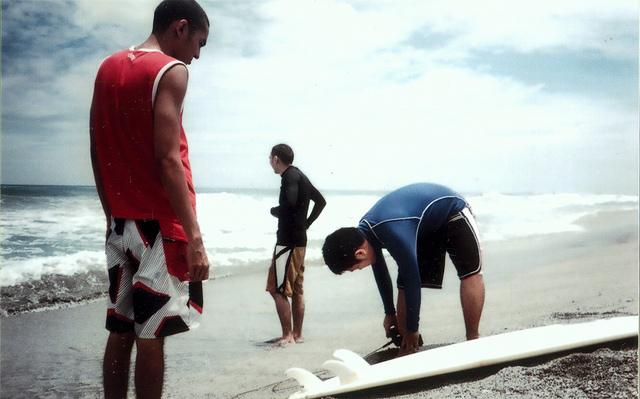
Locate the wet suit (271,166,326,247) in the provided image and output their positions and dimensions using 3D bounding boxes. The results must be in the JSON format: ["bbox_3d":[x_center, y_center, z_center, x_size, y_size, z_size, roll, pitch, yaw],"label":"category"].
[{"bbox_3d":[-0.260,0.073,9.250,0.628,0.954,0.267,-4,5,-30],"label":"wet suit"}]

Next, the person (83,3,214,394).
[{"bbox_3d":[-1.661,-0.030,7.647,1.137,3.852,0.602,-3,5,-17],"label":"person"}]

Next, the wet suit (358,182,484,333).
[{"bbox_3d":[1.142,0.639,8.929,1.467,1.739,1.480,-9,1,42],"label":"wet suit"}]
